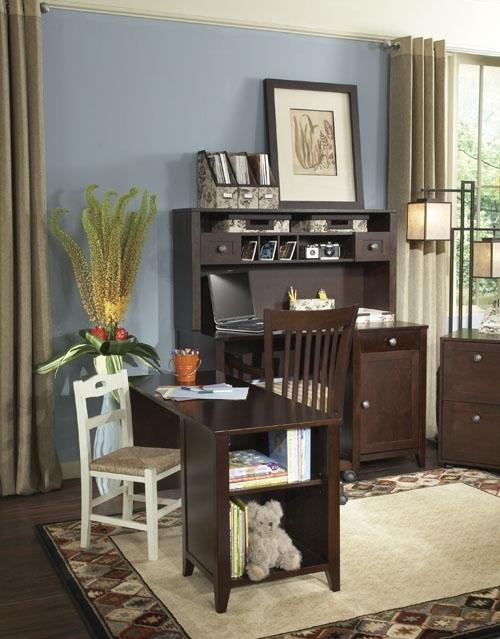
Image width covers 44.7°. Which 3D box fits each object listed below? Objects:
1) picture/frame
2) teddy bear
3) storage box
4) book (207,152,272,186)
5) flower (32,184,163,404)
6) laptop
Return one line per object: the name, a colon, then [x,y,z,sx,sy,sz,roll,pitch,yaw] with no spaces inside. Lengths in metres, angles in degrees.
picture/frame: [0.359,-1.053,3.639,0.873,1.026,0.041,-2,0,-31]
teddy bear: [0.063,0.678,1.869,0.179,0.216,0.177,-6,-3,-4]
storage box: [-0.067,-0.753,3.332,0.459,0.350,0.290,-1,1,-4]
book: [-0.064,-0.810,3.297,0.237,0.132,0.084,-2,2,-26]
flower: [-0.764,-0.156,3.088,0.579,1.090,0.505,-1,2,-9]
laptop: [-0.092,-0.099,3.316,0.273,0.310,0.378,6,6,42]
